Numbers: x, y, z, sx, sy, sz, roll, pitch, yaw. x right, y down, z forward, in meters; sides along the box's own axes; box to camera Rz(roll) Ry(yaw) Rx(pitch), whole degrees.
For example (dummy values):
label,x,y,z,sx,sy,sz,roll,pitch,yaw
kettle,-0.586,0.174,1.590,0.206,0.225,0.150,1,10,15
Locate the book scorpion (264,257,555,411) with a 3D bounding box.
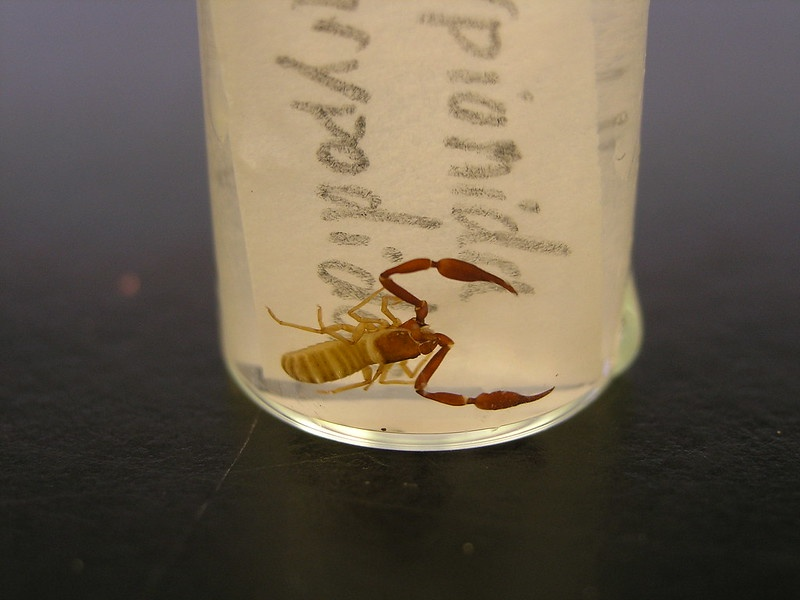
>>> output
label,x,y,z,sx,sy,sz,roll,pitch,yaw
book scorpion,0.008,0.027,0.586,0.213,0.049,0.092,-9,71,35
